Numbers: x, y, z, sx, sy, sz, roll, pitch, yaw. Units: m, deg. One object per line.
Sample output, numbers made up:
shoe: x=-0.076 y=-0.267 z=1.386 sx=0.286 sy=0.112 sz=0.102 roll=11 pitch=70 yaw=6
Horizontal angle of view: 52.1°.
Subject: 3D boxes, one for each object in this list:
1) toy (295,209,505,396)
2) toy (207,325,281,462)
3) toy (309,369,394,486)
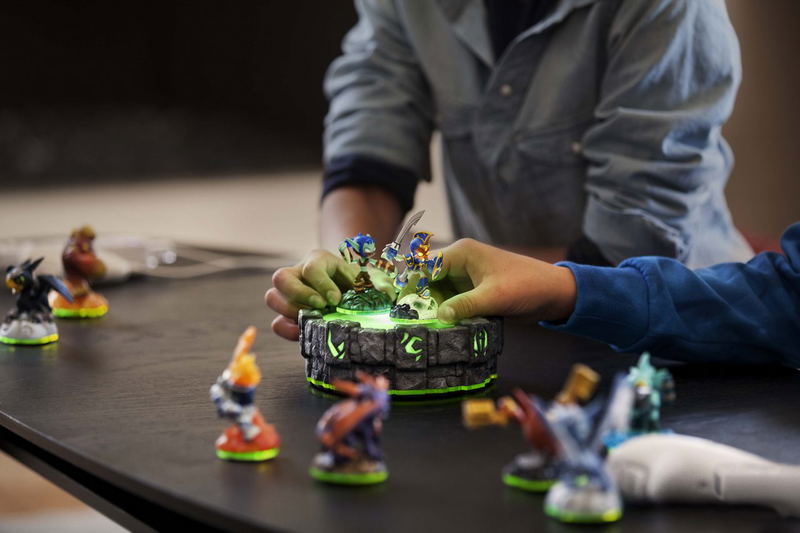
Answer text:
toy: x=0.014 y=0.055 z=2.046 sx=0.463 sy=0.418 sz=0.471 roll=1 pitch=3 yaw=12
toy: x=-0.320 y=0.260 z=1.660 sx=0.132 sy=0.270 sz=0.100 roll=-6 pitch=16 yaw=-10
toy: x=-0.109 y=0.302 z=1.659 sx=0.200 sy=0.244 sz=0.197 roll=-3 pitch=10 yaw=-15
